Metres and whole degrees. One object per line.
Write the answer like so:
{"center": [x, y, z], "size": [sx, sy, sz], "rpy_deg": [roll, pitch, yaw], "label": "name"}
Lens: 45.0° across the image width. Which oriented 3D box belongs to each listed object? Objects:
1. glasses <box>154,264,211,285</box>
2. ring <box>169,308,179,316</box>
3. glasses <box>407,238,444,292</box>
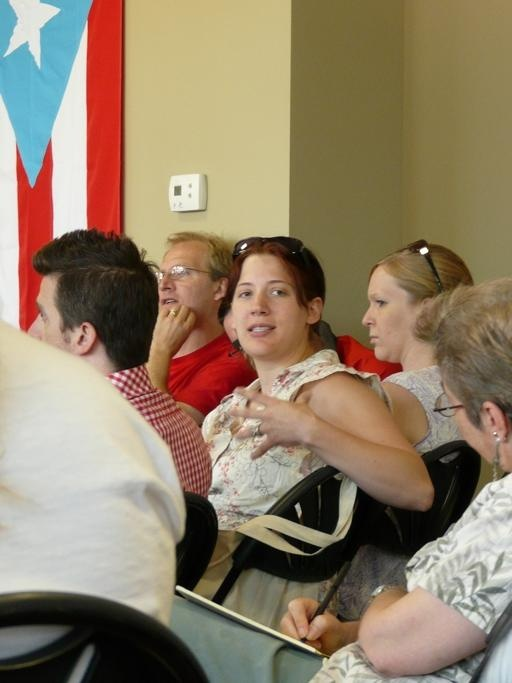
{"center": [-0.354, -0.302, 2.750], "size": [0.149, 0.042, 0.156], "rpy_deg": [-3, -7, 40], "label": "glasses"}
{"center": [-0.358, -0.123, 2.651], "size": [0.033, 0.037, 0.015], "rpy_deg": [-7, -2, 1], "label": "ring"}
{"center": [0.572, -0.242, 1.947], "size": [0.047, 0.141, 0.146], "rpy_deg": [-21, 16, -18], "label": "glasses"}
